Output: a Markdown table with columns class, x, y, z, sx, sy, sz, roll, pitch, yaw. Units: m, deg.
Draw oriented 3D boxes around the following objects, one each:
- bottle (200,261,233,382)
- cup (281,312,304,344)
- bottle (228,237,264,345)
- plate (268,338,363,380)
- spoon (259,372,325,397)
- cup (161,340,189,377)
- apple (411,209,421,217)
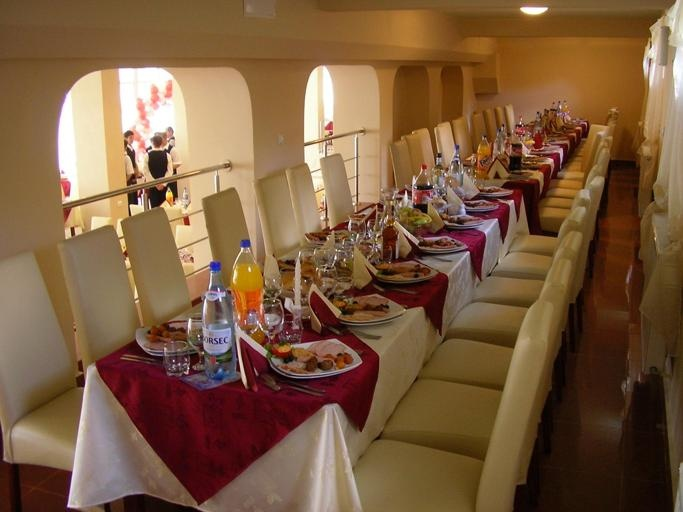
| class | x | y | z | sx | sy | sz | roll | pitch | yaw |
| --- | --- | --- | --- | --- | --- | --- | --- | --- | --- |
| bottle | -0.416 | 0.218 | 1.669 | 0.110 | 0.390 | 0.075 | -11 | 14 | -21 |
| cup | -0.185 | 0.276 | 1.915 | 0.079 | 0.093 | 0.085 | 2 | 18 | -1 |
| bottle | -0.350 | 0.121 | 1.888 | 0.116 | 0.365 | 0.280 | -8 | 14 | -10 |
| plate | -0.099 | 0.345 | 1.780 | 0.321 | 0.116 | 0.208 | -11 | 15 | -11 |
| spoon | -0.170 | 0.422 | 1.638 | 0.236 | 0.047 | 0.081 | 0 | 17 | 28 |
| cup | -0.571 | 0.347 | 1.778 | 0.085 | 0.117 | 0.097 | 8 | 16 | 22 |
| apple | 0.449 | -0.279 | 3.113 | 0.047 | 0.020 | 0.052 | 12 | 31 | -30 |
